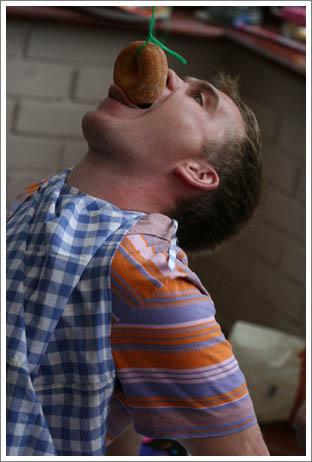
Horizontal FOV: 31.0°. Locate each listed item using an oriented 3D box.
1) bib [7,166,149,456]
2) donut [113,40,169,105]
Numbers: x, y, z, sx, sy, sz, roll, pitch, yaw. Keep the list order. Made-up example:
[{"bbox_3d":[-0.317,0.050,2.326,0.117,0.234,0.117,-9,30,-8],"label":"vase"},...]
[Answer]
[{"bbox_3d":[-0.133,0.124,0.826,0.204,0.287,0.334,4,33,-2],"label":"bib"},{"bbox_3d":[-0.024,-0.268,0.900,0.095,0.034,0.093,-9,61,-9],"label":"donut"}]
